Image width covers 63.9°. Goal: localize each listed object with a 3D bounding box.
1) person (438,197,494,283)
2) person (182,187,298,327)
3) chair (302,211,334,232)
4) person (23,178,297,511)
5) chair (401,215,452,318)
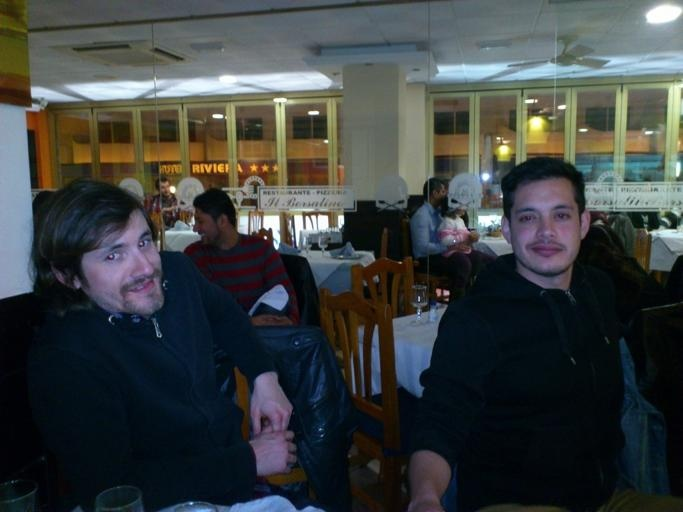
[{"bbox_3d":[1.128,-0.098,5.038,0.485,0.992,0.441,6,11,27],"label":"person"},{"bbox_3d":[-0.579,0.024,3.076,0.614,0.822,0.511,2,21,4],"label":"person"},{"bbox_3d":[-0.263,-0.366,5.692,0.347,0.201,0.118,-5,7,9],"label":"chair"},{"bbox_3d":[-0.515,0.231,1.596,0.656,0.936,0.424,-7,7,-11],"label":"person"},{"bbox_3d":[0.881,-0.005,5.124,0.454,1.112,0.470,0,14,-9],"label":"chair"}]
